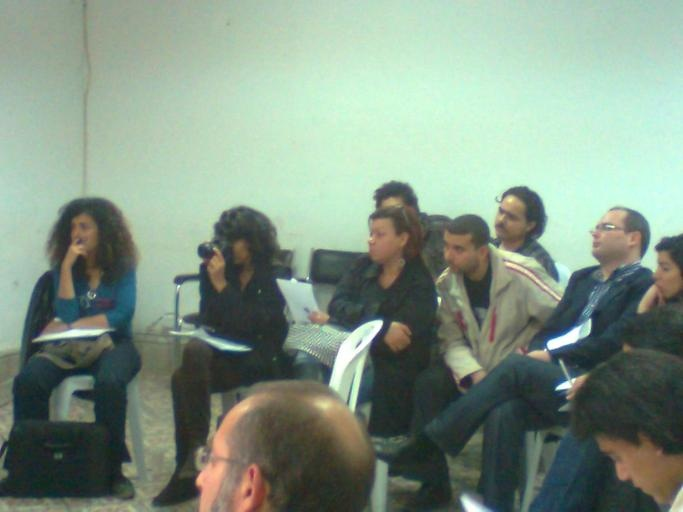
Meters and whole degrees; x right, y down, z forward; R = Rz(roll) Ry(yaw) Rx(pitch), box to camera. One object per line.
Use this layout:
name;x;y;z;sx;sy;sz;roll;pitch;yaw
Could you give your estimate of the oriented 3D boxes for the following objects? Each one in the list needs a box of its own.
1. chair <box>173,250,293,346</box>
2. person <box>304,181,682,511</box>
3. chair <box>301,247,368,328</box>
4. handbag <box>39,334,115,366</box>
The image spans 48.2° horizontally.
chair;-0.549;0.222;4.224;0.537;0.807;0.544;-2;-6;25
person;0.883;0.483;3.366;1.108;1.127;0.878;2;1;24
chair;-0.078;0.131;4.437;0.308;0.445;0.354;1;-5;9
handbag;-1.289;0.464;3.706;0.352;0.170;0.126;2;1;-12
